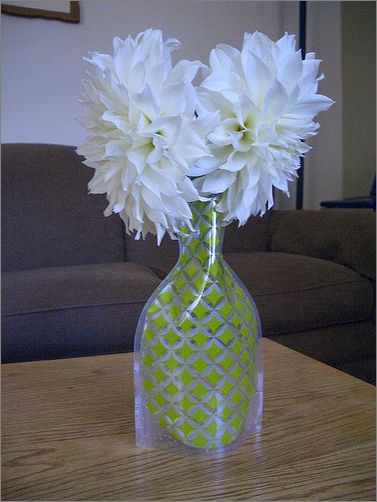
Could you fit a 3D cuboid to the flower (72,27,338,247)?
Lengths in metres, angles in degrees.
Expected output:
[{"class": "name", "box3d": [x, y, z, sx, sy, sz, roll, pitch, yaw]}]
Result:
[{"class": "flower", "box3d": [0.008, -0.083, 0.465, 0.198, 0.127, 0.206, -28, 46, -22]}]
